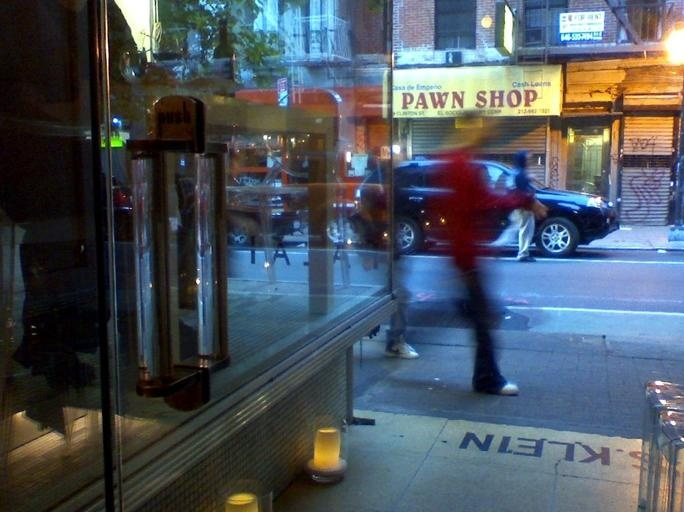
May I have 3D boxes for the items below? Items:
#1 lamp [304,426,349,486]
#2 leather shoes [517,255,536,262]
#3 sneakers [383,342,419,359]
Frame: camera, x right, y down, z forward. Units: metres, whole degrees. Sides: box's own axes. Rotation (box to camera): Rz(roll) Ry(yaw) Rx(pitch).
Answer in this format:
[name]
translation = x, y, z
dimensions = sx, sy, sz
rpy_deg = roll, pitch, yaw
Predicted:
[lamp]
translation = -0.096, 1.208, 3.982
dimensions = 0.269, 0.295, 0.279
rpy_deg = 2, -2, 13
[leather shoes]
translation = 3.503, 0.043, 12.456
dimensions = 0.394, 0.168, 0.148
rpy_deg = 0, 1, 32
[sneakers]
translation = 0.599, 0.951, 6.646
dimensions = 0.296, 0.128, 0.153
rpy_deg = 0, 2, 14
